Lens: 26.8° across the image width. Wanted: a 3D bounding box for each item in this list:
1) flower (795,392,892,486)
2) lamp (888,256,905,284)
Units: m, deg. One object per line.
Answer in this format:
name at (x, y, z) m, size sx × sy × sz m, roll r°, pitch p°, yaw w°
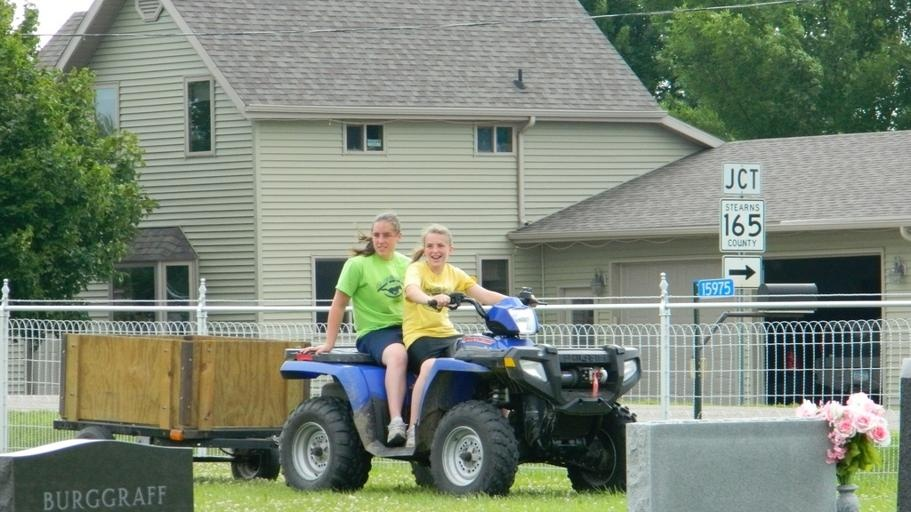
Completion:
flower at (7.017, 3.204, 34.846) m, size 1.167 × 1.894 × 1.531 m, roll -1°, pitch -1°, yaw 41°
lamp at (10.541, 0.350, 45.843) m, size 0.424 × 0.636 × 0.140 m, roll -1°, pitch -6°, yaw 17°
